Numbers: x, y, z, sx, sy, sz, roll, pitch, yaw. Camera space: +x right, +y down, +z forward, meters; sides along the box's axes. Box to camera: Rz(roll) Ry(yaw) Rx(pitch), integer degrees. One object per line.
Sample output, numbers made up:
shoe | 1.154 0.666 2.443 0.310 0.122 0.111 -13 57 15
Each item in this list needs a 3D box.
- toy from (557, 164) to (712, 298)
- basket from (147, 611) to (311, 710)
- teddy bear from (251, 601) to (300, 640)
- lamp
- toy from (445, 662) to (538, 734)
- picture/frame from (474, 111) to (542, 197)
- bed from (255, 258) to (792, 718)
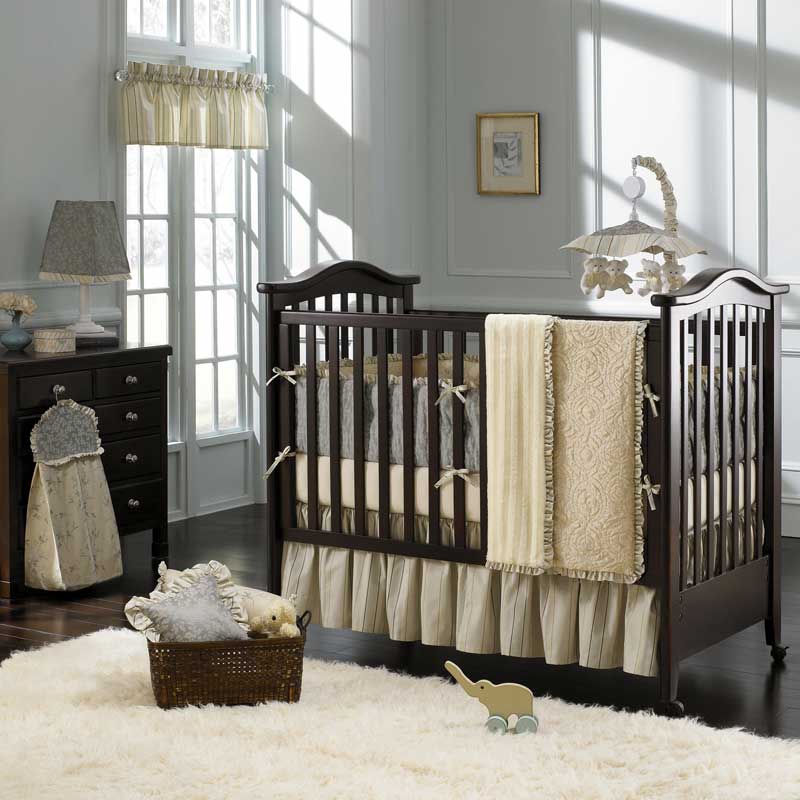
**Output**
toy | 0.783 -0.559 3.062 0.351 0.513 0.327 -6 9 -28
basket | -0.406 0.646 2.237 0.291 0.204 0.223 0 -2 -5
teddy bear | -0.309 0.554 2.329 0.102 0.071 0.089 8 7 9
lamp | -1.245 -0.508 3.704 0.330 0.622 0.336 0 1 -24
toy | 0.214 0.713 2.220 0.132 0.141 0.048 -1 5 13
picture/frame | 0.539 -1.226 4.703 0.315 0.484 0.020 1 -20 6
bed | 0.217 0.048 2.693 1.089 1.160 0.691 4 23 24
